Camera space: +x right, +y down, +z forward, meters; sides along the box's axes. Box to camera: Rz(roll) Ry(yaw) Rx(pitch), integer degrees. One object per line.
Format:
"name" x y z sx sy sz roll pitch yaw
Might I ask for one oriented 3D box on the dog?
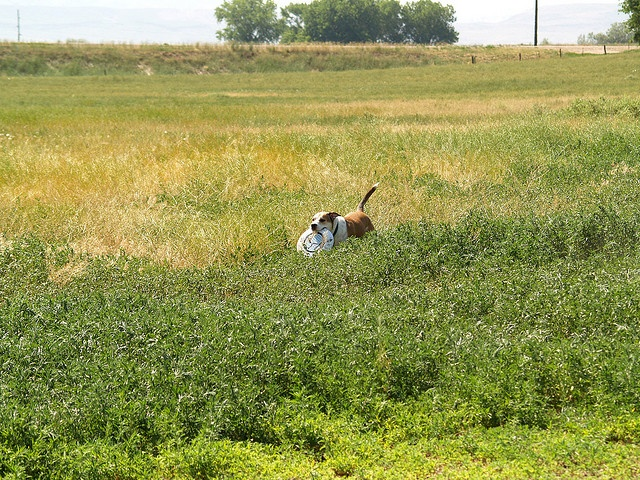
"dog" 0.857 -0.448 32.076 0.986 2.160 3.129 -3 10 40
